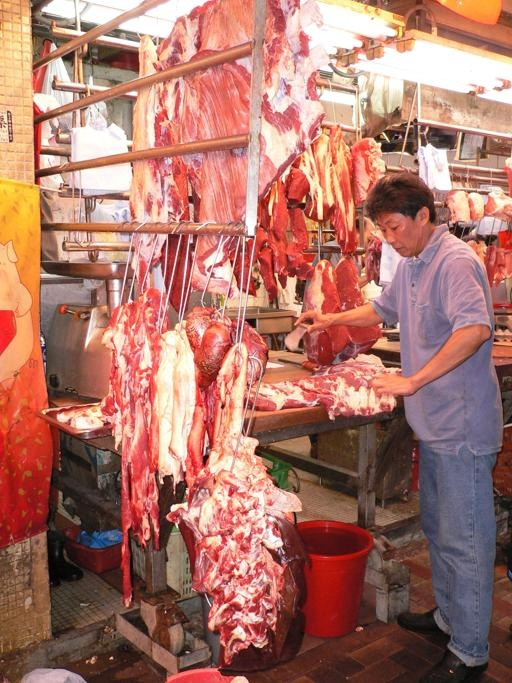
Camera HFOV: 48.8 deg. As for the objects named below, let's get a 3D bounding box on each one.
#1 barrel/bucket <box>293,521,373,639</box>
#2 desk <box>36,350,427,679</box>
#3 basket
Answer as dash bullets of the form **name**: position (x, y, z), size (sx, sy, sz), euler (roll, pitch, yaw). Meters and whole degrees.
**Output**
- **barrel/bucket**: position (0.330, 1.187, 2.795), size (0.486, 0.400, 0.450), euler (-1, -2, 0)
- **desk**: position (-0.012, 0.606, 2.925), size (2.105, 1.400, 1.108), euler (-4, 9, -35)
- **basket**: position (-0.497, 1.041, 2.755), size (0.131, 0.217, 0.241), euler (-4, -23, 45)
